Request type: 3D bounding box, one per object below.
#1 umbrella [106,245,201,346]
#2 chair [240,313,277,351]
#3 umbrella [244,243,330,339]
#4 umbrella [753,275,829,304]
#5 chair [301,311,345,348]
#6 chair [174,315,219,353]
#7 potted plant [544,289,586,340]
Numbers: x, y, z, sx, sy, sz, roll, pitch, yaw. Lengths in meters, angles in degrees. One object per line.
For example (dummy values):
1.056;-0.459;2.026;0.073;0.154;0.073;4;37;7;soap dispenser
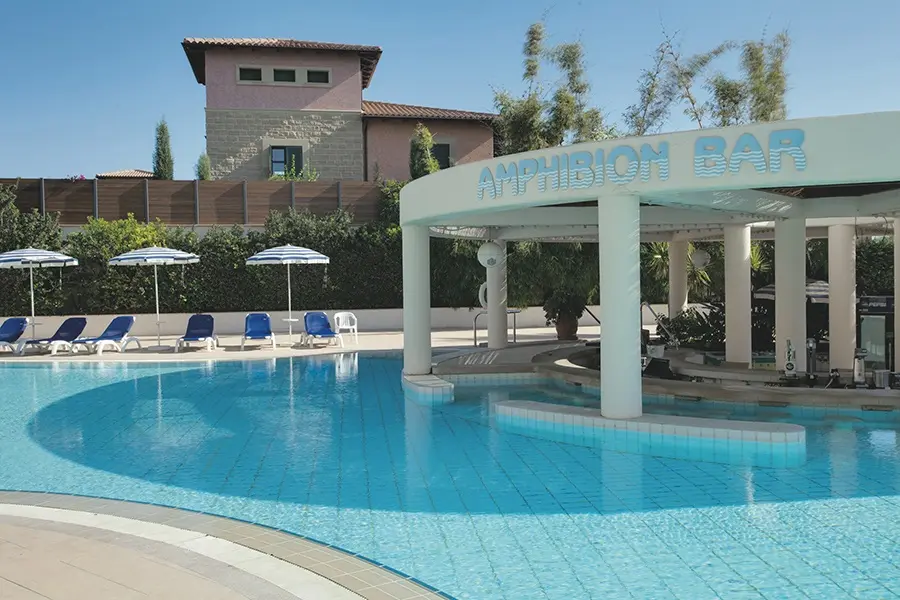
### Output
-9.676;-0.128;26.293;3.316;3.203;3.069;-2;-6;-7;umbrella
-5.682;0.854;24.293;1.005;0.882;1.236;0;-4;-10;chair
-5.536;-0.295;27.065;3.459;3.163;3.145;-1;-4;-5;umbrella
9.424;-0.163;22.479;1.697;0.710;2.423;5;11;25;umbrella
-3.857;0.826;24.667;1.015;0.890;1.354;1;-4;-23;chair
-7.359;0.937;23.839;0.964;0.856;1.323;0;5;-4;chair
3.307;0.455;24.420;1.642;1.716;1.408;0;-6;-7;potted plant
